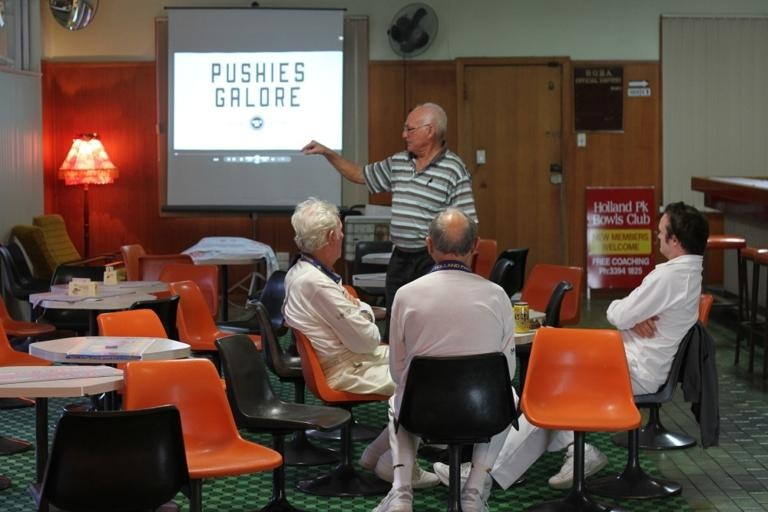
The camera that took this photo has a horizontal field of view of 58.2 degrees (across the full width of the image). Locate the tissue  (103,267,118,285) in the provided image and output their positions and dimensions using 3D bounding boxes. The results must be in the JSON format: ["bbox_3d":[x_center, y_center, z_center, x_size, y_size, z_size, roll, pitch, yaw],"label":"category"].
[{"bbox_3d":[-2.414,0.182,6.090,0.130,0.202,0.113,0,-5,-1],"label":"tissue "}]

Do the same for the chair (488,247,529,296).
[{"bbox_3d":[1.140,0.241,6.431,0.365,0.472,0.331,-8,11,-5],"label":"chair"}]

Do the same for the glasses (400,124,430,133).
[{"bbox_3d":[0.231,-0.927,5.015,0.223,0.057,0.077,5,11,33],"label":"glasses"}]

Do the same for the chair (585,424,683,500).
[{"bbox_3d":[1.615,1.293,4.461,0.592,0.400,0.627,0,-7,2],"label":"chair"}]

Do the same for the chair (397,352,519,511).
[{"bbox_3d":[0.367,0.827,3.513,0.471,0.758,0.515,0,9,1],"label":"chair"}]

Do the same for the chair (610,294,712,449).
[{"bbox_3d":[2.000,0.844,5.158,0.690,1.094,0.604,-5,-6,19],"label":"chair"}]

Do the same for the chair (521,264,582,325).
[{"bbox_3d":[1.476,0.321,5.818,0.430,0.432,0.371,11,16,-7],"label":"chair"}]

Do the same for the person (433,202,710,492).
[{"bbox_3d":[1.531,0.503,4.901,1.436,1.789,0.562,0,25,32],"label":"person"}]
